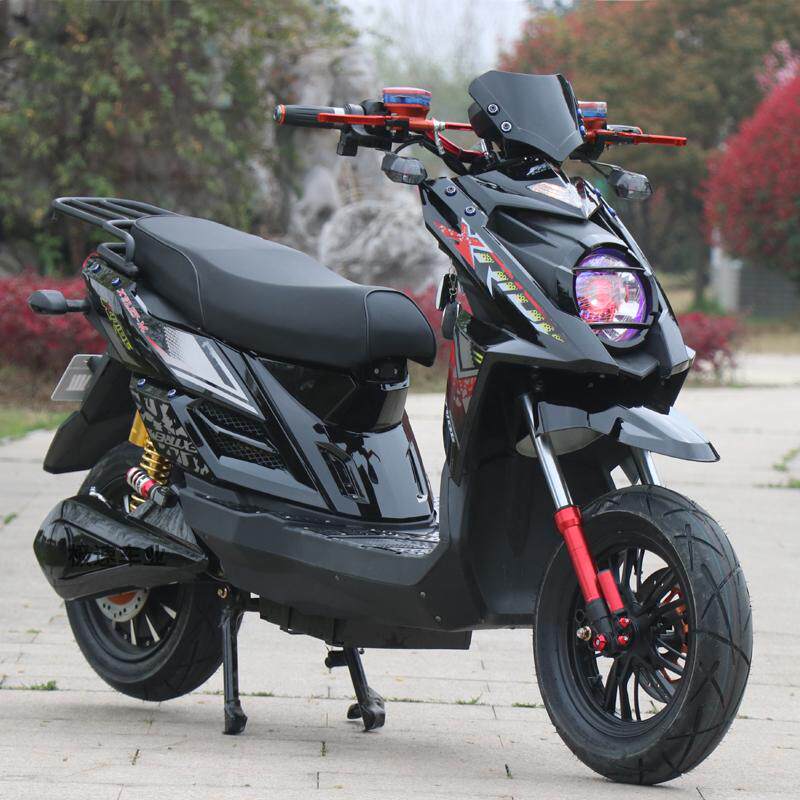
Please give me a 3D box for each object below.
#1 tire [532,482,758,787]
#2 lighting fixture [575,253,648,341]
[{"bbox_3d":[0.566,0.569,2.708,0.495,0.644,0.558,-4,37,4],"label":"tire"},{"bbox_3d":[0.512,-0.254,2.775,0.265,0.055,0.198,3,75,-9],"label":"lighting fixture"}]
